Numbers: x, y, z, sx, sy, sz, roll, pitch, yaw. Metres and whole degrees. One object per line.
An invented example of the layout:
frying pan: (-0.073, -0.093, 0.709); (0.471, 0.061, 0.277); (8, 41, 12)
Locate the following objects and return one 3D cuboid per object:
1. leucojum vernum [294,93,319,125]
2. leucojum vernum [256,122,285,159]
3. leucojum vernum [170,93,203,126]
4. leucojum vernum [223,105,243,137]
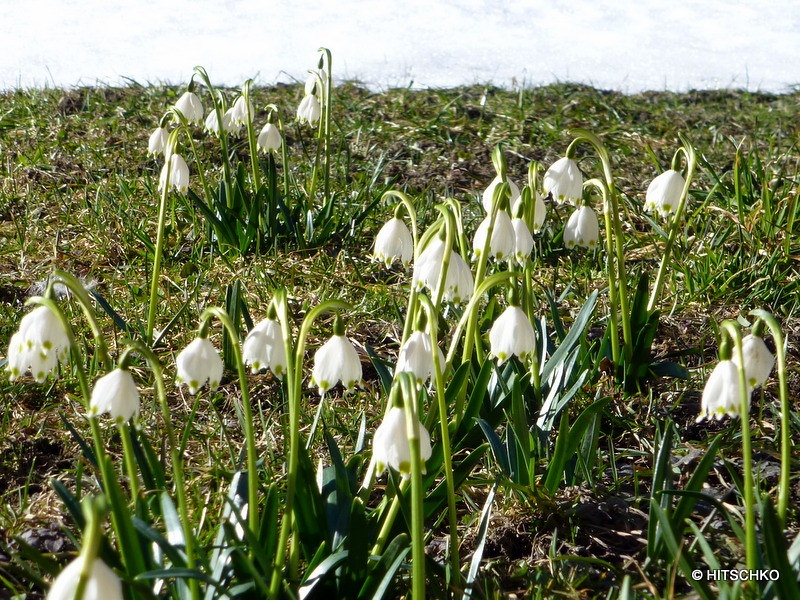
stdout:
leucojum vernum: (-0.644, -1.354, 5.388); (0.146, 0.207, 0.286); (-7, 15, -24)
leucojum vernum: (-0.847, -1.069, 4.986); (0.157, 0.188, 0.418); (-4, 14, -10)
leucojum vernum: (-1.268, -1.165, 4.602); (0.131, 0.186, 0.383); (-4, 14, -13)
leucojum vernum: (-1.075, -1.166, 4.888); (0.107, 0.160, 0.276); (-4, 14, -12)
